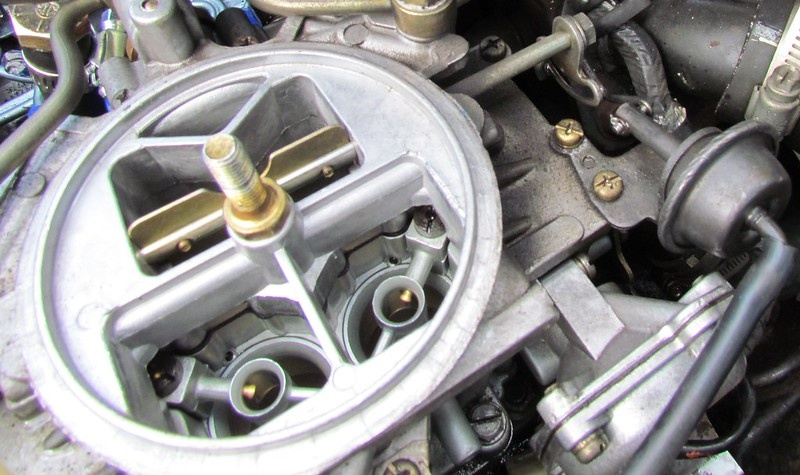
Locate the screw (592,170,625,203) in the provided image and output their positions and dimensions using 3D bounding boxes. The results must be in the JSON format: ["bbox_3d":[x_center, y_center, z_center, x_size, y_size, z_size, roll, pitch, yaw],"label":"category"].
[{"bbox_3d":[0.687,-0.164,2.138,0.099,0.082,0.067,2,26,19],"label":"screw"}]

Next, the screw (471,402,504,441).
[{"bbox_3d":[0.290,0.603,2.111,0.104,0.083,0.093,-19,27,-22],"label":"screw"}]
